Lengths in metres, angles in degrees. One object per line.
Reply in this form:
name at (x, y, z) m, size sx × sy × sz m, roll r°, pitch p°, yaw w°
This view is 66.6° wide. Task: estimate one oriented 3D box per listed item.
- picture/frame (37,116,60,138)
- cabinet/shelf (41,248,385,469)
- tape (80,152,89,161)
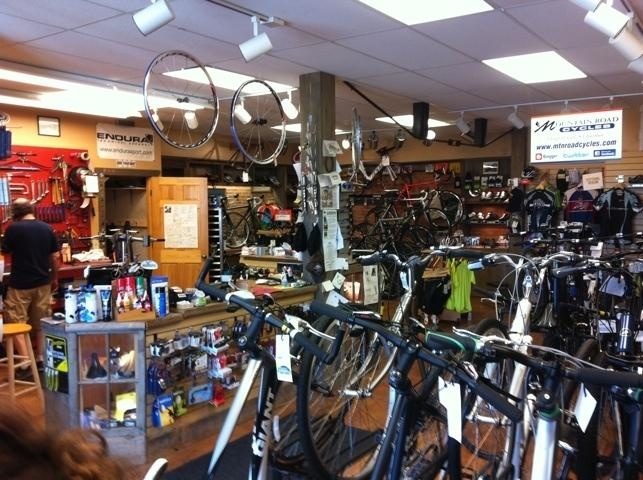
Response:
picture/frame at (-3.883, -1.602, 6.917) m, size 0.034 × 0.286 × 0.336 m, roll 0°, pitch 3°, yaw 37°
cabinet/shelf at (-0.760, 0.848, 3.423) m, size 1.466 × 0.832 × 0.436 m, roll -7°, pitch 10°, yaw -41°
tape at (-3.496, -1.232, 7.225) m, size 0.111 × 0.094 × 0.121 m, roll 7°, pitch 8°, yaw 40°
